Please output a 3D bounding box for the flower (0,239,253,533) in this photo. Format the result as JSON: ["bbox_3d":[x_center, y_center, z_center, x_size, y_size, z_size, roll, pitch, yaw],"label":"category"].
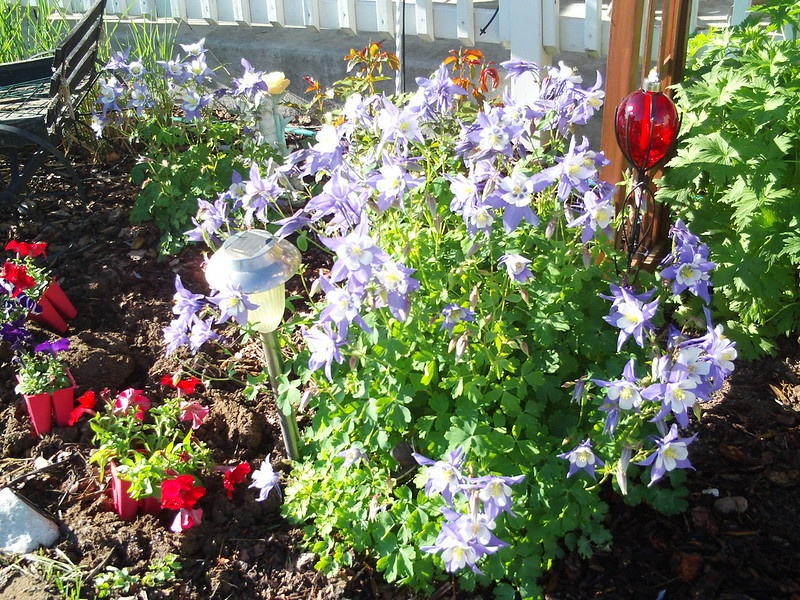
[{"bbox_3d":[-1.470,0.453,3.209,0.569,0.746,1.897,-17,43,-40],"label":"flower"}]
